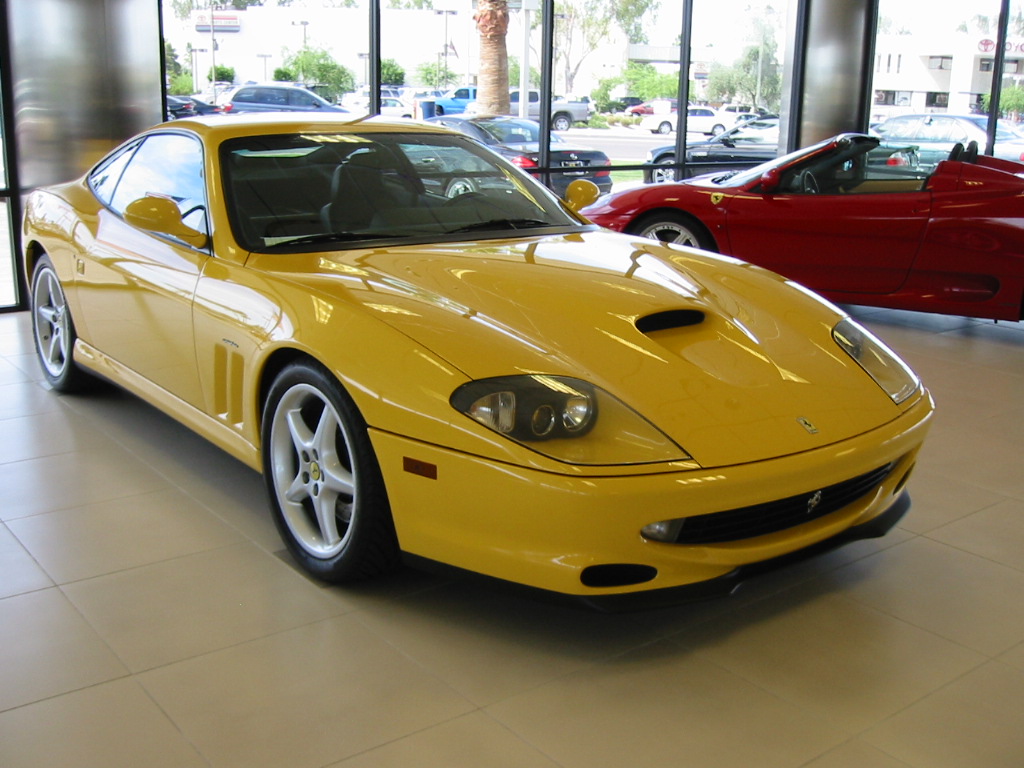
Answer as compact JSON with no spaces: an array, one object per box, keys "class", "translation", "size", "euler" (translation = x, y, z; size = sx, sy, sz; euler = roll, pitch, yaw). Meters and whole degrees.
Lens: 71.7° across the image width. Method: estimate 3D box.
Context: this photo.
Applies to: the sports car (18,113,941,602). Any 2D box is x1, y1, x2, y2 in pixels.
[{"class":"sports car","translation":[-0.643,-0.320,3.008],"size":[1.870,1.030,3.751],"euler":[-10,21,-41]}]
